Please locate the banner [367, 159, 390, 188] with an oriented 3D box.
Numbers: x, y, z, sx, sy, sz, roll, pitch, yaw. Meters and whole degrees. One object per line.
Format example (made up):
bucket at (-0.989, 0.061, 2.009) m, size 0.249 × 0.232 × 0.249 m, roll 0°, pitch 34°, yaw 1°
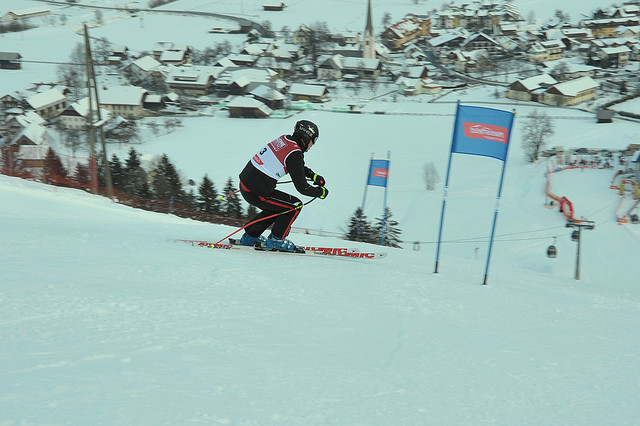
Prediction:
banner at (3.928, -2.550, 51.565) m, size 1.329 × 1.758 × 0.822 m, roll 8°, pitch 14°, yaw 13°
